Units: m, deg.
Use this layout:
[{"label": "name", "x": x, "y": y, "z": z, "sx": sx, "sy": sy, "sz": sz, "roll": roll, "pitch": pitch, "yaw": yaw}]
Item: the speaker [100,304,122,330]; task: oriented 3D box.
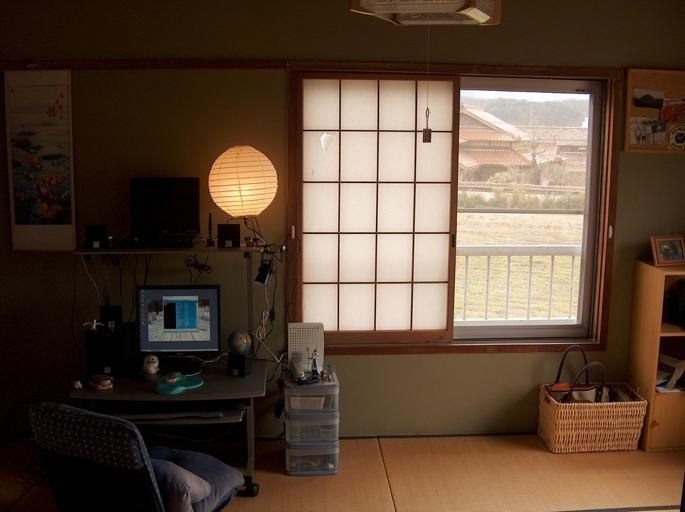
[{"label": "speaker", "x": -1.609, "y": 0.432, "z": 4.358, "sx": 0.160, "sy": 0.149, "sz": 0.129, "roll": -2, "pitch": 9, "yaw": -9}]

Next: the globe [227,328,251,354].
[{"label": "globe", "x": -0.726, "y": 0.602, "z": 4.426, "sx": 0.146, "sy": 0.152, "sz": 0.142, "roll": -5, "pitch": 5, "yaw": -7}]

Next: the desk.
[{"label": "desk", "x": -1.029, "y": 0.990, "z": 4.497, "sx": 1.214, "sy": 0.614, "sz": 0.837, "roll": 0, "pitch": -3, "yaw": 2}]

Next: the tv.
[{"label": "tv", "x": -1.171, "y": 0.518, "z": 4.416, "sx": 0.608, "sy": 0.648, "sz": 0.211, "roll": 0, "pitch": 0, "yaw": -1}]

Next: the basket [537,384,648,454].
[{"label": "basket", "x": 1.840, "y": 1.264, "z": 4.781, "sx": 0.504, "sy": 0.319, "sz": 0.507, "roll": 0, "pitch": 2, "yaw": 1}]

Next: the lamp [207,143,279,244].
[{"label": "lamp", "x": -0.706, "y": -0.467, "z": 4.466, "sx": 0.498, "sy": 0.685, "sz": 0.485, "roll": -8, "pitch": 23, "yaw": -24}]

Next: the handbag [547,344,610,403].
[{"label": "handbag", "x": 1.784, "y": 0.904, "z": 4.881, "sx": 0.523, "sy": 0.533, "sz": 0.329, "roll": 0, "pitch": 2, "yaw": 9}]

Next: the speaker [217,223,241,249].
[{"label": "speaker", "x": -0.790, "y": -0.136, "z": 4.417, "sx": 0.154, "sy": 0.159, "sz": 0.159, "roll": -1, "pitch": 4, "yaw": -2}]

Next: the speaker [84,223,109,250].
[{"label": "speaker", "x": -1.700, "y": -0.127, "z": 4.320, "sx": 0.155, "sy": 0.157, "sz": 0.158, "roll": 1, "pitch": 5, "yaw": 0}]

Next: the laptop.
[{"label": "laptop", "x": -1.269, "y": -0.370, "z": 4.456, "sx": 0.479, "sy": 0.467, "sz": 0.251, "roll": -3, "pitch": 22, "yaw": -24}]

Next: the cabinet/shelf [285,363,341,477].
[{"label": "cabinet/shelf", "x": -0.105, "y": 1.197, "z": 4.538, "sx": 0.409, "sy": 0.694, "sz": 0.637, "roll": 0, "pitch": 7, "yaw": -1}]
